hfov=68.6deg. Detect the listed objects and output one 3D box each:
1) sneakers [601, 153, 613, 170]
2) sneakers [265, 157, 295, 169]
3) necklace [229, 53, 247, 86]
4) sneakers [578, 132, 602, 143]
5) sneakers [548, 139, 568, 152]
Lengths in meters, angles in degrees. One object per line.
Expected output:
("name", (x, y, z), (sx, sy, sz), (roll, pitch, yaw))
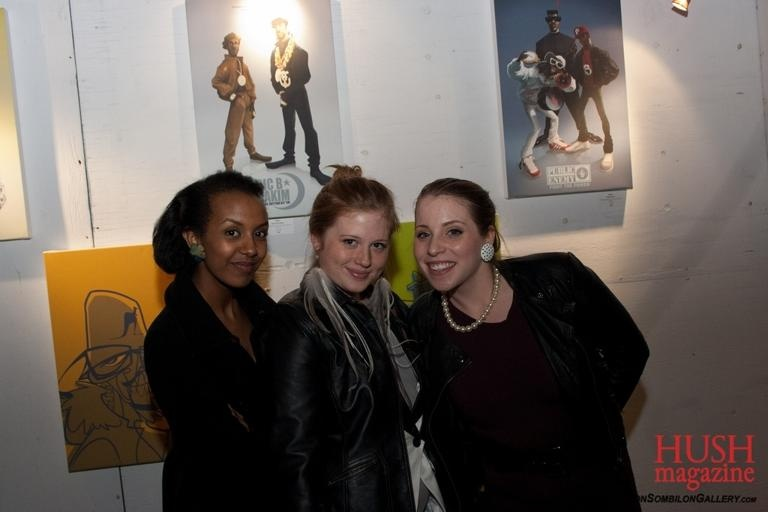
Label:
("sneakers", (1.525, -0.651, 3.860), (0.052, 0.061, 0.140), (4, 47, 20))
("sneakers", (-0.674, -0.619, 3.659), (0.201, 0.081, 0.071), (-3, 27, -12))
("necklace", (-0.926, -1.195, 3.633), (0.066, 0.192, 0.023), (-4, 7, -13))
("sneakers", (1.389, -0.801, 3.864), (0.173, 0.063, 0.071), (3, -11, 4))
("sneakers", (1.176, -0.757, 3.828), (0.119, 0.064, 0.051), (18, 22, 13))
